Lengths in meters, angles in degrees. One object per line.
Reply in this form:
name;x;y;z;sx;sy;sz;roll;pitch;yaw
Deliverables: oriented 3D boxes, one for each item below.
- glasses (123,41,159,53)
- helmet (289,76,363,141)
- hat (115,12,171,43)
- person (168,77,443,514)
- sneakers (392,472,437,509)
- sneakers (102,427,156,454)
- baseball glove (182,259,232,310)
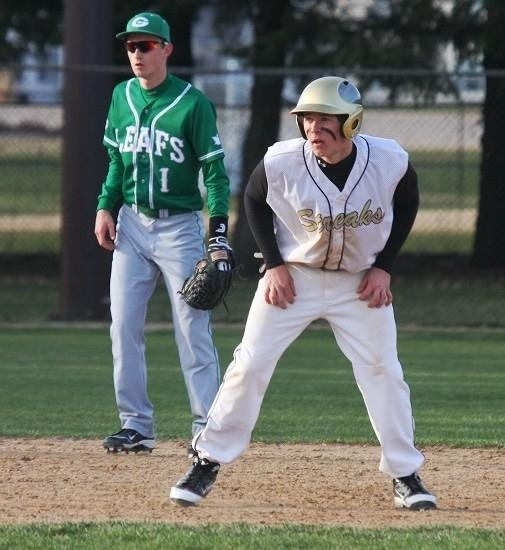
glasses;-0.628;-1.309;7.910;0.203;0.077;0.093;3;8;16
helmet;0.396;-0.875;7.156;0.365;0.331;0.398;6;13;22
hat;-0.569;-1.432;7.987;0.173;0.135;0.250;2;-2;41
person;0.328;0.075;7.251;1.170;2.198;0.299;0;8;-1
sneakers;0.855;1.152;7.248;0.115;0.134;0.288;2;-8;-25
sneakers;-0.702;0.971;8.072;0.316;0.147;0.116;9;-6;-15
baseball glove;-0.240;0.059;7.835;0.221;0.289;0.116;35;16;1
